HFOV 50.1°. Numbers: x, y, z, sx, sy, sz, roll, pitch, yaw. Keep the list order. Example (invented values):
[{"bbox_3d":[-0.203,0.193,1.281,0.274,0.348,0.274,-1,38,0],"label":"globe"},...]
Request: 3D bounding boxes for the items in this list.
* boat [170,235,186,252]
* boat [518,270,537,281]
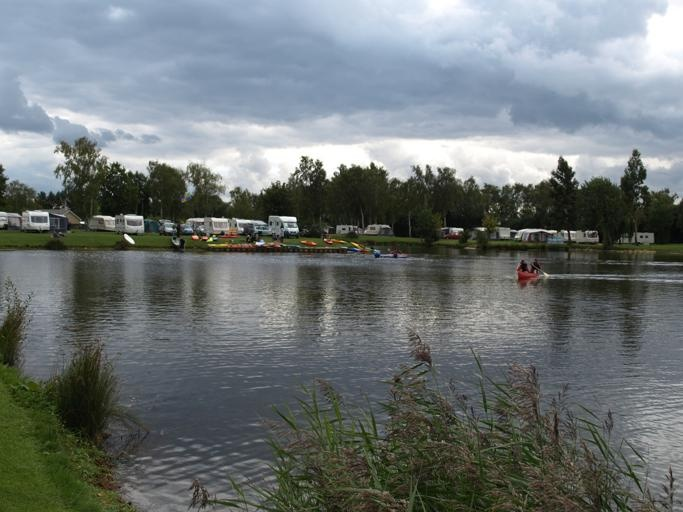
[{"bbox_3d":[-16.512,-1.234,74.314,1.505,0.921,1.966,6,27,-4],"label":"boat"},{"bbox_3d":[11.703,1.228,46.069,1.175,0.513,2.770,-6,-4,22],"label":"boat"}]
